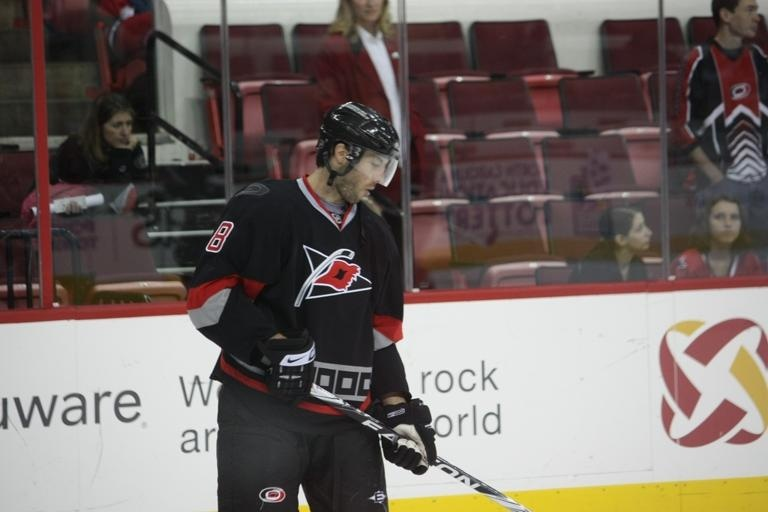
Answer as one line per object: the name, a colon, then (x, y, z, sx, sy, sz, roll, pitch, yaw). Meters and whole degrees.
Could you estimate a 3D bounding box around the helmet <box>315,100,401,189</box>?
helmet: (-0.096, -0.637, 8.221, 0.486, 0.446, 0.376, 11, 4, 1)

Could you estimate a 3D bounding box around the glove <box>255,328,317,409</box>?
glove: (-0.525, 0.603, 7.877, 0.350, 0.356, 0.296, -3, 8, -13)

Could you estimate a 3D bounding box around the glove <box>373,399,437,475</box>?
glove: (0.138, 0.981, 8.114, 0.403, 0.390, 0.167, -13, -13, -43)
